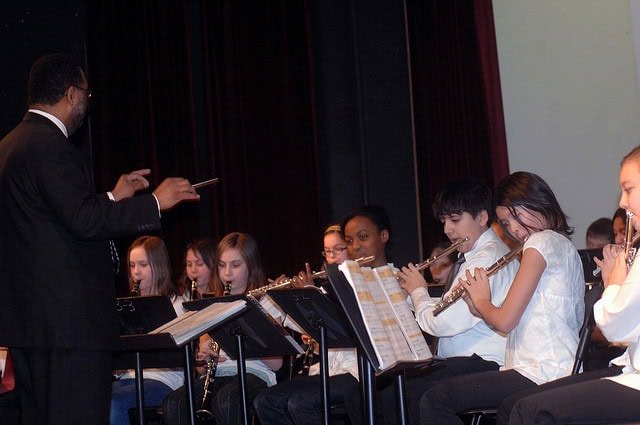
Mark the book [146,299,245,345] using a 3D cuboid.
[{"bbox_3d":[-0.662,0.584,3.139,0.436,0.248,0.519,-1,-1,5],"label":"book"}]
